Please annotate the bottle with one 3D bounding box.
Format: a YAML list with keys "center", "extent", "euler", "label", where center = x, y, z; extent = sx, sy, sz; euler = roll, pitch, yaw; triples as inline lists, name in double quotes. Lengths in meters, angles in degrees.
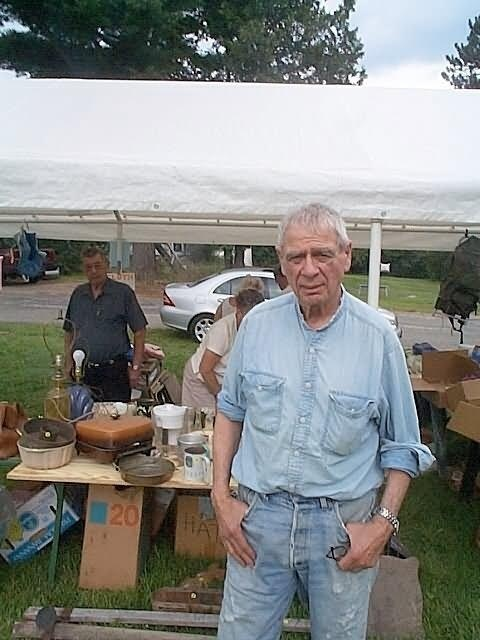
- center: [-0.936, 0.346, 2.953]
  extent: [0.237, 0.388, 0.458]
  euler: [-2, 11, -10]
  label: "bottle"

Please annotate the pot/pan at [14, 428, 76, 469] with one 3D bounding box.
- center: [-0.872, 0.590, 2.444]
  extent: [0.244, 0.172, 0.196]
  euler: [-5, 12, -23]
  label: "pot/pan"

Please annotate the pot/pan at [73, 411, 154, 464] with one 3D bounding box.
- center: [-0.604, 0.527, 2.524]
  extent: [0.239, 0.138, 0.247]
  euler: [8, 8, 29]
  label: "pot/pan"

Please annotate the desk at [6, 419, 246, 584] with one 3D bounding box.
- center: [-0.532, 0.822, 2.516]
  extent: [0.949, 0.482, 0.972]
  euler: [3, -5, 3]
  label: "desk"

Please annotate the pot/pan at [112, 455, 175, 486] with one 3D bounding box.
- center: [-0.411, 0.661, 2.380]
  extent: [0.235, 0.074, 0.266]
  euler: [-5, 13, -25]
  label: "pot/pan"

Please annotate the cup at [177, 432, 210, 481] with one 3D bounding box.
- center: [-0.211, 0.615, 2.453]
  extent: [0.104, 0.131, 0.182]
  euler: [1, 8, -11]
  label: "cup"

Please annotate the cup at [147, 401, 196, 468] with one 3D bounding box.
- center: [-0.360, 0.554, 2.701]
  extent: [0.230, 0.291, 0.194]
  euler: [-4, 10, -14]
  label: "cup"
